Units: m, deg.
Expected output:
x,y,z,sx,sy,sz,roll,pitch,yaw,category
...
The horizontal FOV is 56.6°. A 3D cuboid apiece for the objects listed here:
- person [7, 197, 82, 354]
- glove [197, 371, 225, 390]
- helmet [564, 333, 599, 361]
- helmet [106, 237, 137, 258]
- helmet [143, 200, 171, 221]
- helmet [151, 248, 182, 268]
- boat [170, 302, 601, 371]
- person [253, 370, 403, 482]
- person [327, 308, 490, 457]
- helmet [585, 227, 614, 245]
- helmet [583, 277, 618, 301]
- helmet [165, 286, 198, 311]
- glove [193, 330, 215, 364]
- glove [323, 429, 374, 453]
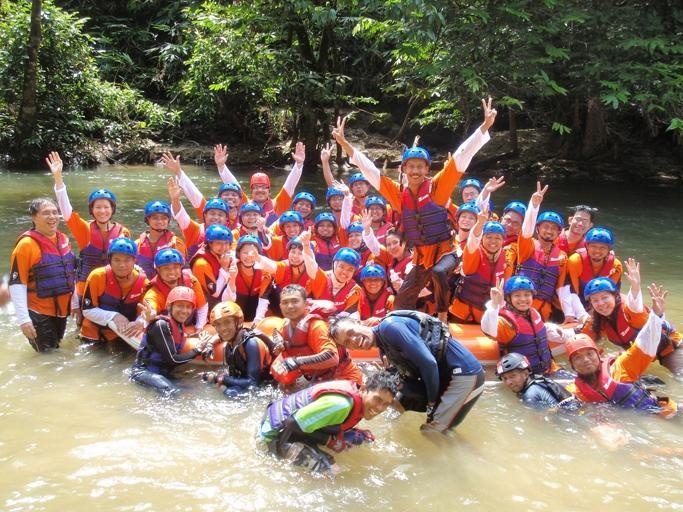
x,y,z,sx,sy,sz,roll,pitch,yaw,category
-4.044,0.255,8.533,0.441,2.009,0.931,5,13,24,person
-1.606,1.547,7.956,0.248,0.193,0.108,7,-13,10,glove
2.836,1.062,7.605,0.268,0.373,0.182,-14,-12,9,helmet
-2.887,-0.130,8.423,0.228,0.327,0.277,2,4,-7,helmet
-2.716,-0.698,9.383,0.315,0.436,0.370,3,2,-17,helmet
-2.266,0.027,8.358,0.334,0.238,0.240,0,12,4,helmet
1.053,1.203,8.684,3.897,0.504,1.820,1,3,1,boat
-0.162,1.608,6.589,1.348,0.943,0.909,7,21,-7,person
0.788,1.302,7.083,1.690,1.482,0.860,-12,-10,15,person
3.677,-0.346,9.090,0.239,0.330,0.287,2,-8,17,helmet
3.437,0.457,8.412,0.284,0.305,0.384,-22,-50,26,helmet
-1.995,0.513,7.931,0.231,0.330,0.239,8,30,-19,helmet
-1.681,1.127,7.958,0.317,0.374,0.138,7,-21,25,glove
0.126,1.958,6.769,0.707,0.274,0.216,9,-24,-34,glove
